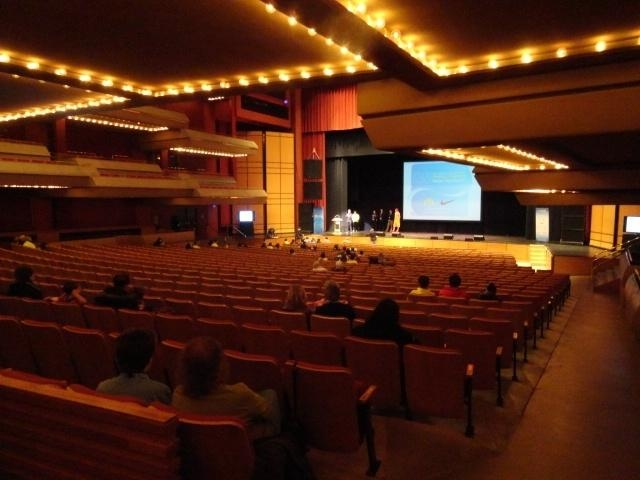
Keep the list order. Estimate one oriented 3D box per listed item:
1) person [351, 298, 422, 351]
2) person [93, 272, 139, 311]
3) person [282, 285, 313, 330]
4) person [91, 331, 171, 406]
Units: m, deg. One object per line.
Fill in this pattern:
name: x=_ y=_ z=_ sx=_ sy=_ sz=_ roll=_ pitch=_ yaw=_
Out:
person: x=0.715 y=1.056 z=5.482 sx=0.715 sy=0.774 sz=0.416 roll=8 pitch=15 yaw=17
person: x=-2.799 y=0.842 z=6.728 sx=0.727 sy=0.703 sz=0.560 roll=0 pitch=-2 yaw=-24
person: x=-0.293 y=0.875 z=6.426 sx=0.404 sy=0.752 sz=0.524 roll=2 pitch=10 yaw=14
person: x=-1.691 y=1.140 z=4.254 sx=0.674 sy=0.694 sz=0.368 roll=4 pitch=15 yaw=-5
